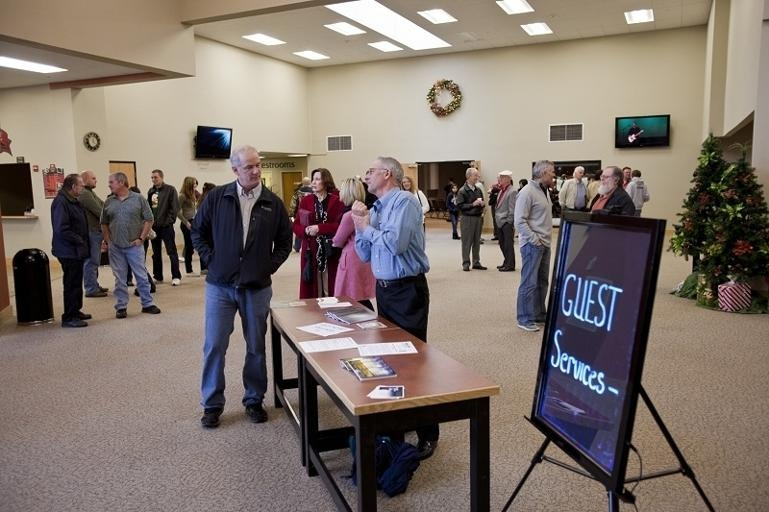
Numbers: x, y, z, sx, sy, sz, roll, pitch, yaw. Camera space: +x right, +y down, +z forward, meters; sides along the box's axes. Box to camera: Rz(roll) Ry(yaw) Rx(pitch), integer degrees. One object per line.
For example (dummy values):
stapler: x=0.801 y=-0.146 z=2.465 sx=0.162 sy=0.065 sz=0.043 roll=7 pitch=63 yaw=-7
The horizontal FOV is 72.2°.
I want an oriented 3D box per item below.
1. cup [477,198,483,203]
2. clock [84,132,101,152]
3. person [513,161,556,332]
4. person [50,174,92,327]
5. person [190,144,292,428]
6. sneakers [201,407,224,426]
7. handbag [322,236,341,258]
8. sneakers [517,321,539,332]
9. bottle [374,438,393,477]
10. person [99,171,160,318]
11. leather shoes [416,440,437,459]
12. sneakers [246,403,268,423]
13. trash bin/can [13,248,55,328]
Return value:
cup: x=1.725 y=-0.989 z=9.444 sx=0.068 sy=0.095 sz=0.092 roll=-5 pitch=2 yaw=-30
clock: x=-5.790 y=-2.227 z=10.384 sx=0.066 sy=0.309 sz=0.306 roll=-1 pitch=35 yaw=26
person: x=1.733 y=-0.105 z=6.102 sx=0.348 sy=1.916 sz=0.565 roll=12 pitch=19 yaw=42
person: x=-3.969 y=-0.055 z=6.650 sx=0.464 sy=1.827 sz=0.710 roll=-10 pitch=16 yaw=-30
person: x=-1.153 y=0.232 z=4.281 sx=0.862 sy=2.163 sz=0.602 roll=-6 pitch=15 yaw=-18
sneakers: x=-1.403 y=1.302 z=4.284 sx=0.081 sy=0.111 sz=0.231 roll=1 pitch=-4 yaw=-9
handbag: x=-0.554 y=-0.104 z=5.432 sx=0.195 sy=0.192 sz=0.070 roll=-6 pitch=10 yaw=-41
sneakers: x=1.706 y=0.831 z=6.229 sx=0.247 sy=0.120 sz=0.095 roll=0 pitch=2 yaw=43
bottle: x=0.000 y=1.346 z=3.582 sx=0.082 sy=0.265 sz=0.196 roll=16 pitch=-19 yaw=-19
person: x=-3.419 y=-0.152 z=7.081 sx=0.627 sy=1.886 sz=0.760 roll=-10 pitch=16 yaw=-29
leather shoes: x=0.308 y=1.396 z=3.821 sx=0.072 sy=0.083 sz=0.206 roll=-5 pitch=-1 yaw=24
sneakers: x=-1.039 y=1.276 z=4.312 sx=0.092 sy=0.099 sz=0.218 roll=-2 pitch=0 yaw=-30
trash bin/can: x=-4.574 y=0.391 z=6.792 sx=0.458 sy=0.915 sz=0.337 roll=-9 pitch=16 yaw=-28
